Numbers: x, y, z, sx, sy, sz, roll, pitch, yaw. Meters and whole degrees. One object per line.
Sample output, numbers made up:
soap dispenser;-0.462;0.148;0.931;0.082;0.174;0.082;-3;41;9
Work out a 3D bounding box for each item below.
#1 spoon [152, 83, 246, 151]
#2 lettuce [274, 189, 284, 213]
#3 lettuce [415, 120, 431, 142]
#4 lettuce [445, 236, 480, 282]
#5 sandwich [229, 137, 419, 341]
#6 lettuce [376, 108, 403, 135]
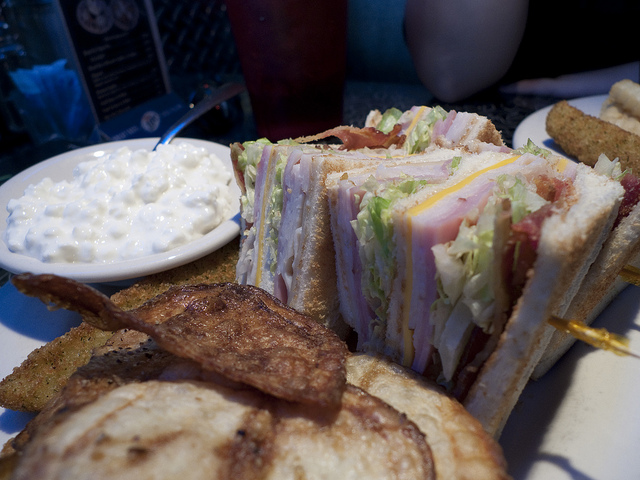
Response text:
spoon;-0.567;-0.566;2.450;0.104;0.094;0.633;41;65;5
lettuce;-0.121;-0.117;1.573;0.038;0.053;0.016;18;9;28
lettuce;0.346;-0.364;1.787;0.059;0.020;0.056;36;58;-6
lettuce;0.328;0.040;1.210;0.076;0.091;0.052;28;53;24
sandwich;0.059;-0.003;1.697;0.238;0.591;0.621;11;81;-38
lettuce;0.258;-0.425;1.939;0.071;0.027;0.116;32;95;36
